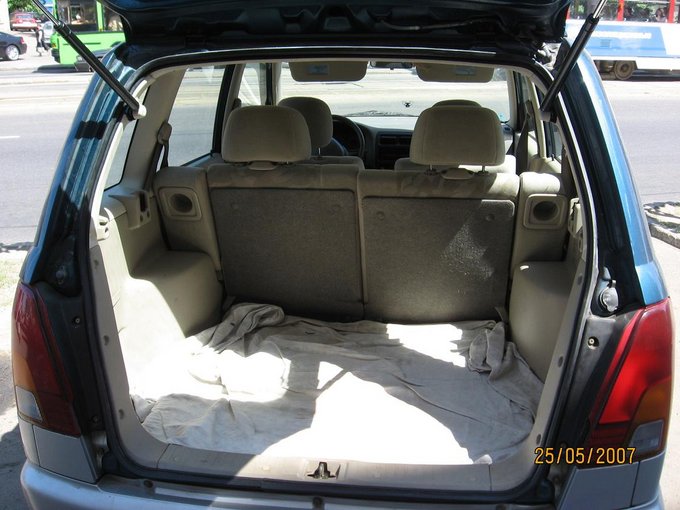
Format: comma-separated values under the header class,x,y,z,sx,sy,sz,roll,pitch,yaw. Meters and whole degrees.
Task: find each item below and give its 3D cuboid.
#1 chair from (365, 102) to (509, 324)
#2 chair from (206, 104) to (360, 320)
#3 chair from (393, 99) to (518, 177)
class,x,y,z,sx,sy,sz,roll,pitch,yaw
chair,0.515,-0.245,2.830,0.773,1.065,0.704,2,20,9
chair,-0.161,-0.339,3.096,0.810,1.068,0.987,6,25,19
chair,0.554,-0.494,2.604,0.601,0.355,0.558,4,-1,-3
